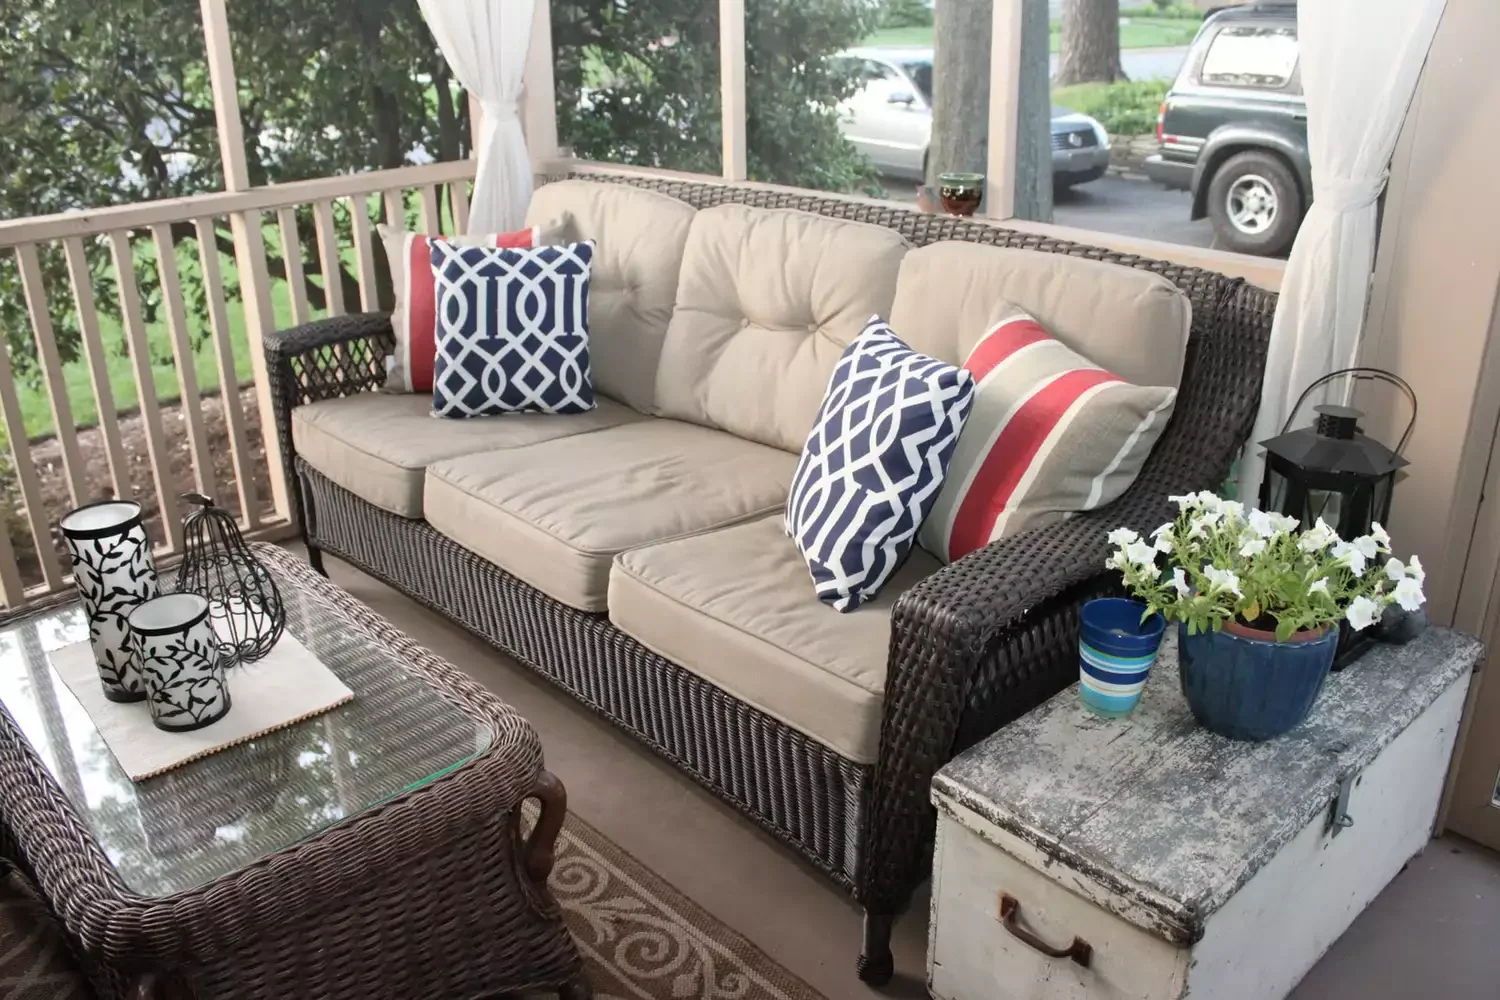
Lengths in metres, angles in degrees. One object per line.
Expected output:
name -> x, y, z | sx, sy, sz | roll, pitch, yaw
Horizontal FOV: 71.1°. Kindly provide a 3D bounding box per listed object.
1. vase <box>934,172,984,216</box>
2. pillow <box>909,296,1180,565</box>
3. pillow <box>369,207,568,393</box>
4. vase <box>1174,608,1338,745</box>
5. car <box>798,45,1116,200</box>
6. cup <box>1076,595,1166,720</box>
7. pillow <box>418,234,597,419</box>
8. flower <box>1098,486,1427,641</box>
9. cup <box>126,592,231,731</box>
vase -> 0.576, -0.835, 2.929 | 0.123, 0.100, 0.121 | 21, 38, 29
pillow -> 0.626, -0.105, 2.224 | 0.430, 0.462, 0.303 | 13, 24, 30
pillow -> -0.824, -0.583, 3.131 | 0.682, 0.635, 0.256 | -1, 9, 5
vase -> 0.903, 0.299, 1.921 | 0.233, 0.205, 0.217 | 1, 13, -37
car -> 1.423, -2.669, 7.618 | 0.952, 0.746, 2.187 | -26, 38, -36
cup -> 0.669, 0.280, 2.038 | 0.192, 0.223, 0.199 | 1, 23, 0
pillow -> -0.707, -0.495, 3.054 | 0.520, 0.562, 0.198 | 0, 5, -6
flower -> 0.931, 0.132, 1.938 | 0.464, 0.310, 0.206 | -4, -16, 19
cup -> -1.083, 0.309, 1.969 | 0.135, 0.209, 0.142 | 5, 31, -3
